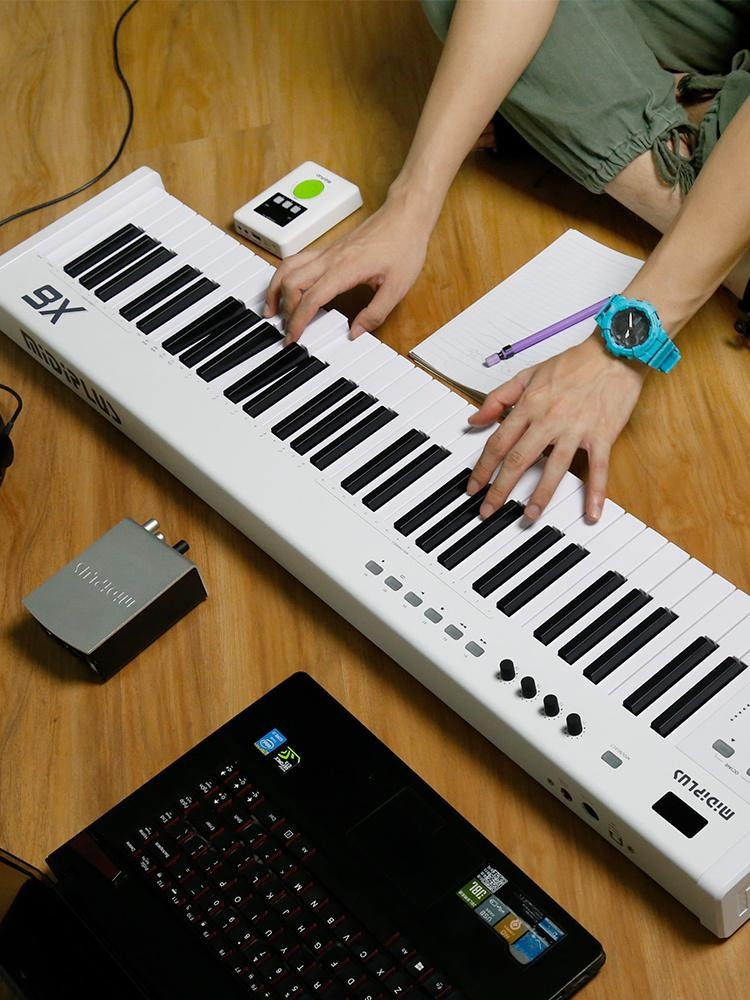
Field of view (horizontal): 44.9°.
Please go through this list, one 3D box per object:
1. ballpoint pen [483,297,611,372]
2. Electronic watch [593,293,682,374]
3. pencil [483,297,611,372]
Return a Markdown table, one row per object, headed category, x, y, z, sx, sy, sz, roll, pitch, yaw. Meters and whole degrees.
| category | x | y | z | sx | sy | sz | roll | pitch | yaw |
| --- | --- | --- | --- | --- | --- | --- | --- | --- | --- |
| ballpoint pen | 0.224 | -0.209 | 1.164 | 0.230 | 0.024 | 0.020 | -27 | 36 | -11 |
| Electronic watch | 0.302 | -0.193 | 1.053 | 0.066 | 0.025 | 0.104 | -43 | 71 | 1 |
| pencil | 0.224 | -0.209 | 1.164 | 0.230 | 0.024 | 0.020 | -27 | 36 | -11 |
